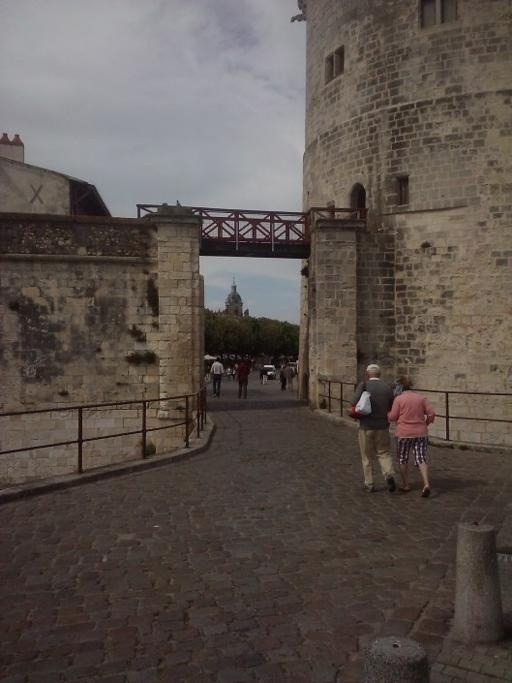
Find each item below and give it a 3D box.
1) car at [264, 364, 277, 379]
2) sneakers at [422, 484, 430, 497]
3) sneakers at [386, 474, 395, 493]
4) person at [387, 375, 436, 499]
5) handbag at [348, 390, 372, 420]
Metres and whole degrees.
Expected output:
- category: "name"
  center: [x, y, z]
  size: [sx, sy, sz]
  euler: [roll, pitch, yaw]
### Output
- category: "car"
  center: [1.068, 2.549, 55.006]
  size: [0.710, 0.919, 1.620]
  euler: [-2, -12, 3]
- category: "sneakers"
  center: [1.938, 1.722, 7.274]
  size: [0.068, 0.093, 0.206]
  euler: [-1, -33, 2]
- category: "sneakers"
  center: [1.602, 1.665, 7.541]
  size: [0.084, 0.224, 0.124]
  euler: [-2, 0, -3]
- category: "person"
  center: [1.911, 1.101, 7.704]
  size: [0.537, 1.324, 0.736]
  euler: [0, 0, -33]
- category: "handbag"
  center: [1.262, 0.761, 7.686]
  size: [0.252, 0.335, 0.229]
  euler: [0, 0, 11]
